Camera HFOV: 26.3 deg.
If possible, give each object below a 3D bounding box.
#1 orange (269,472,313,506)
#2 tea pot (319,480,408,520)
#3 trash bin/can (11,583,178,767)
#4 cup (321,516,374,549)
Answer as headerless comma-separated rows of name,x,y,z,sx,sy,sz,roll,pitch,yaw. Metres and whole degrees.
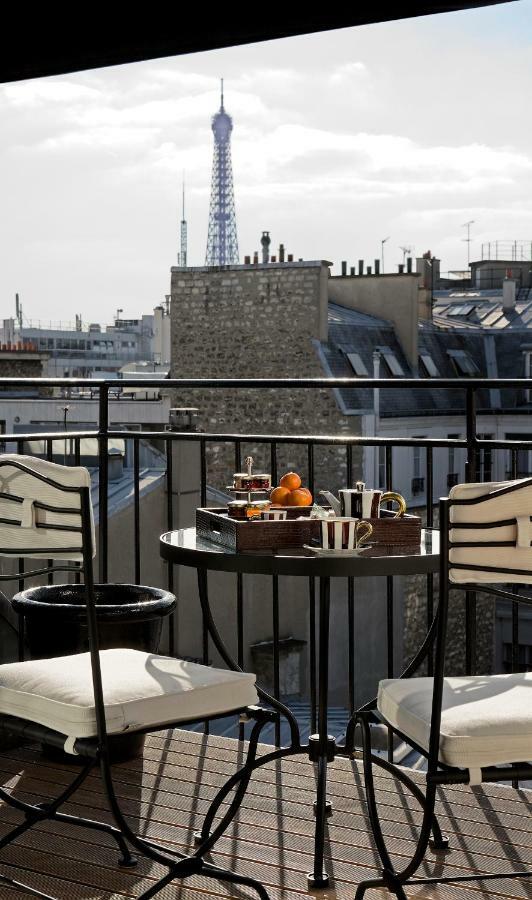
orange,0.063,0.093,2.625,0.069,0.077,0.073,5,-3,-29
tea pot,0.206,0.112,2.515,0.146,0.114,0.145,0,-1,0
trash bin/can,-0.483,0.533,3.117,0.402,0.439,0.453,0,-2,-2
cup,0.169,0.161,2.282,0.078,0.071,0.060,1,-4,-18
